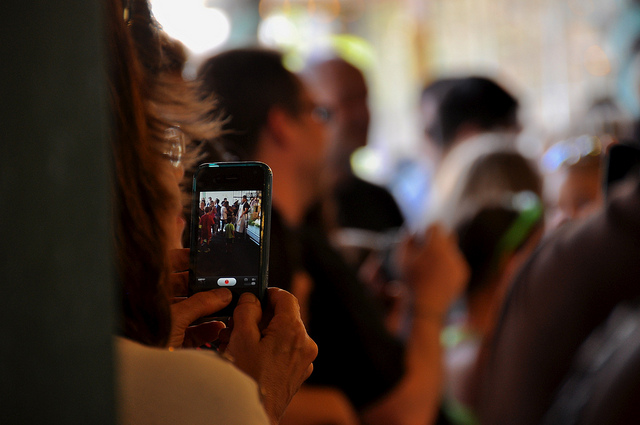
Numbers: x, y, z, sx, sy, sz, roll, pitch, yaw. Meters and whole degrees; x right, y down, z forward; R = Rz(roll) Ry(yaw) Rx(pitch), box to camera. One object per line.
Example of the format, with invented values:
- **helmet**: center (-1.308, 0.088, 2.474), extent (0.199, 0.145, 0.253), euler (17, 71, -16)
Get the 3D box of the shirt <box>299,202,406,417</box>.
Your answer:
- **shirt**: center (0.066, 0.276, 1.594), extent (0.152, 0.417, 0.303), euler (-15, -20, 3)
